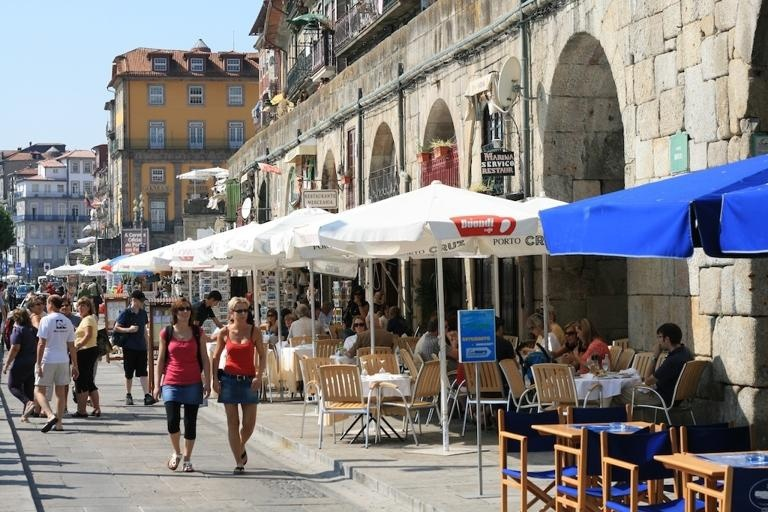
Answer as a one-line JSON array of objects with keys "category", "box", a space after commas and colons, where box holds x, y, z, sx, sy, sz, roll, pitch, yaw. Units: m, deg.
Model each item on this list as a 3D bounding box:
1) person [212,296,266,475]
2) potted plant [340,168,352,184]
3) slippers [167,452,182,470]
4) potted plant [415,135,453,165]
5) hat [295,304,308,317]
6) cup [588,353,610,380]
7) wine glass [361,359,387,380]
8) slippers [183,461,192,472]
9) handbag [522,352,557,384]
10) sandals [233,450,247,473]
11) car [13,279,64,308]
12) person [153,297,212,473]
[{"category": "person", "box": [-2.178, 1.895, 20.242, 0.783, 2.576, 0.545, -2, -3, 0]}, {"category": "potted plant", "box": [-1.037, -2.110, 36.221, 0.446, 0.353, 0.300, 1, 12, -5]}, {"category": "slippers", "box": [-3.136, 3.044, 20.366, 0.194, 0.237, 0.566, 2, -6, -8]}, {"category": "potted plant", "box": [1.137, -2.355, 30.295, 0.583, 0.487, 1.303, -1, -4, -15]}, {"category": "hat", "box": [-1.860, 1.197, 30.757, 0.264, 0.320, 0.430, 0, -26, -9]}, {"category": "cup", "box": [3.346, 1.700, 21.314, 0.292, 0.358, 0.302, -1, -2, 0]}, {"category": "wine glass", "box": [-0.190, 1.798, 22.420, 0.265, 0.469, 0.323, 1, -6, -11]}, {"category": "slippers", "box": [-2.916, 3.085, 20.099, 0.096, 0.111, 0.267, 1, -9, -12]}, {"category": "handbag", "box": [2.531, 1.802, 22.236, 0.388, 0.572, 0.535, -2, -9, 0]}, {"category": "sandals", "box": [-2.141, 3.020, 20.131, 0.185, 0.319, 0.192, -1, -3, -8]}, {"category": "car", "box": [-13.966, 1.393, 54.749, 2.014, 1.189, 1.220, 0, 0, -15]}, {"category": "person", "box": [-3.006, 1.897, 20.269, 0.829, 2.530, 0.436, -1, -3, -8]}]
